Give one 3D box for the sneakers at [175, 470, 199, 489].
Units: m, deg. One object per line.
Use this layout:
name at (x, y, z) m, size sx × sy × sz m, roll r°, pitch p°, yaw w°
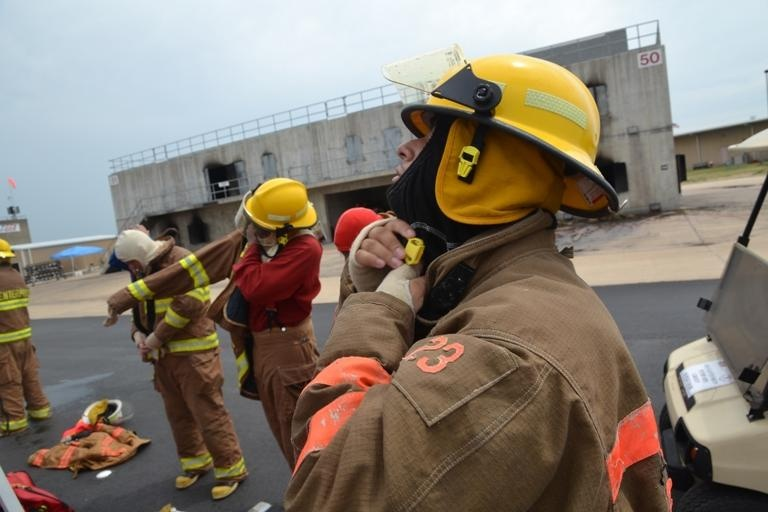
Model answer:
sneakers at (-1.956, 2.221, 5.671) m, size 0.108 × 0.114 × 0.245 m, roll -2°, pitch -11°, yaw 18°
